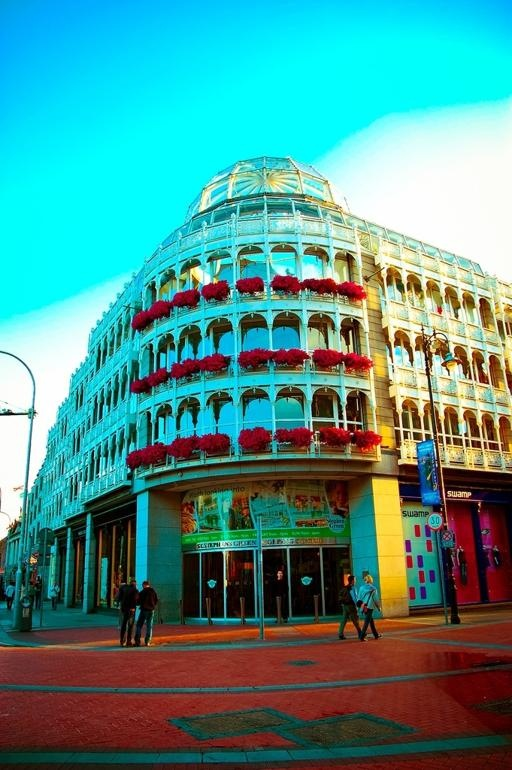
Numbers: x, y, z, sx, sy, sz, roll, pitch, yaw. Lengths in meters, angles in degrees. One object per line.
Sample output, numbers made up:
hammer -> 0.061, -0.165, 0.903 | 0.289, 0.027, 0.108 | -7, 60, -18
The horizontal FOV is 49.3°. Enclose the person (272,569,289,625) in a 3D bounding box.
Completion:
person -> 1.044, 8.262, 22.165 | 0.549, 2.004, 0.285 | 2, -20, -12

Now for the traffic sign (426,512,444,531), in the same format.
traffic sign -> 6.104, 4.521, 18.639 | 0.466, 0.634, 1.127 | -9, -20, 17

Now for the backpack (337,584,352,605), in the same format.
backpack -> 2.510, 5.685, 15.195 | 0.330, 0.501, 0.538 | -6, -19, 9

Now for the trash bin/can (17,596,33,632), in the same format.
trash bin/can -> -8.564, 8.315, 20.439 | 0.526, 1.217, 0.566 | 3, -20, -16

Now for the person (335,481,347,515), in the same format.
person -> 3.820, 4.962, 24.503 | 0.777, 1.454, 0.206 | 14, -25, -39

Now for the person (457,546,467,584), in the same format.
person -> 9.916, 8.429, 26.330 | 0.518, 1.715, 0.466 | 6, -9, -20
